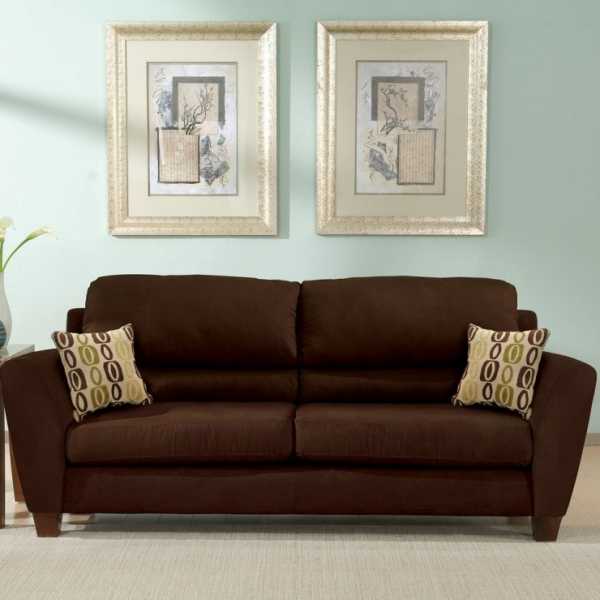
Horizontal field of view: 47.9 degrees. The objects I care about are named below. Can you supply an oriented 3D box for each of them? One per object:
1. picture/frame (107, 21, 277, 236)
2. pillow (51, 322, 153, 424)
[{"bbox_3d":[-0.585,-0.977,3.629,0.921,1.326,0.084,0,7,2],"label":"picture/frame"},{"bbox_3d":[-0.825,0.281,2.770,0.106,0.372,0.356,-25,-13,31],"label":"pillow"}]
